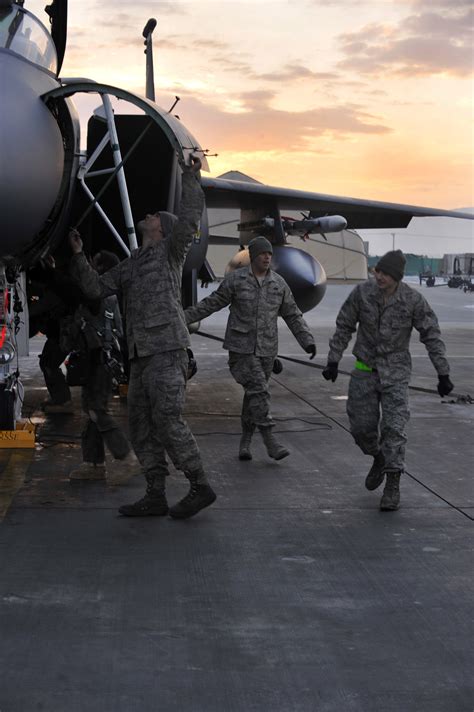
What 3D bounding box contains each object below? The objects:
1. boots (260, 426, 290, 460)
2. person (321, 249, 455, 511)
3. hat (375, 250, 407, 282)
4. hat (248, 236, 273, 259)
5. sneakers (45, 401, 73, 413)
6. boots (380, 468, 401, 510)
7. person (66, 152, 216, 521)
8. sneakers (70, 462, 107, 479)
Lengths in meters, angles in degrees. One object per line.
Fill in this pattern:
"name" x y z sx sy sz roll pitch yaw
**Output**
"boots" 0.345 0.817 5.289 0.268 0.307 0.130 2 -2 2
"person" 1.123 0.152 4.307 0.948 1.904 0.678 2 -2 18
"hat" 1.123 -0.665 4.158 0.211 0.262 0.306 2 -2 14
"hat" 0.235 -1.022 5.439 0.259 0.213 0.194 -3 -1 13
"sneakers" -2.435 0.682 7.626 0.435 0.157 0.161 3 1 11
"boots" 1.101 0.956 4.076 0.135 0.286 0.160 2 -2 14
"person" -0.601 0.042 3.845 0.909 2.058 0.397 1 -2 30
"sneakers" -1.215 0.961 4.749 0.323 0.185 0.109 4 -4 -1
